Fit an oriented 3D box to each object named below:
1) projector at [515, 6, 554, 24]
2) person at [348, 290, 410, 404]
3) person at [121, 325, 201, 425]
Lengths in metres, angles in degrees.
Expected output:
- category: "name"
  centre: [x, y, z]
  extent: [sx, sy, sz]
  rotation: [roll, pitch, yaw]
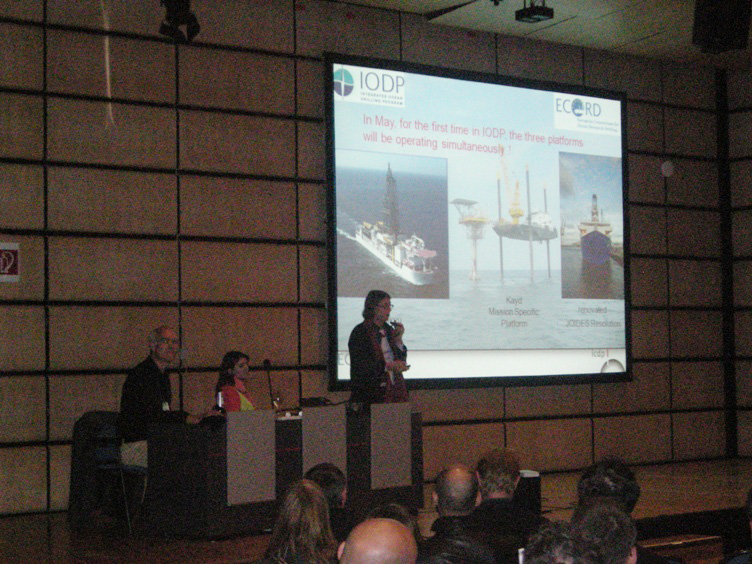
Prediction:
- category: "projector"
  centre: [1.370, -2.349, 7.089]
  extent: [0.303, 0.157, 0.276]
  rotation: [0, -1, 4]
- category: "person"
  centre: [0.017, 0.534, 6.788]
  extent: [0.472, 0.901, 0.301]
  rotation: [0, -1, -4]
- category: "person"
  centre: [-1.454, 0.687, 5.791]
  extent: [0.677, 0.757, 0.579]
  rotation: [8, -9, -27]
